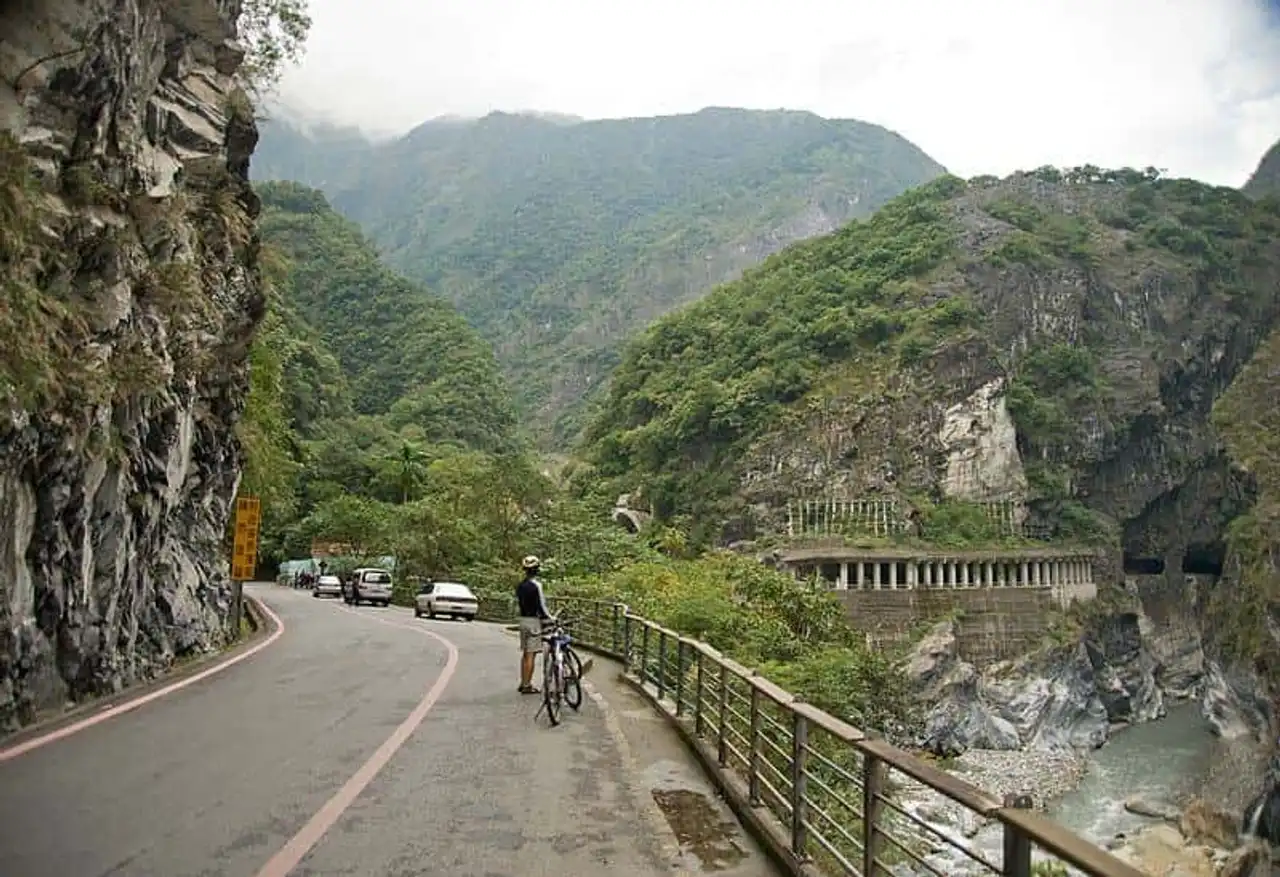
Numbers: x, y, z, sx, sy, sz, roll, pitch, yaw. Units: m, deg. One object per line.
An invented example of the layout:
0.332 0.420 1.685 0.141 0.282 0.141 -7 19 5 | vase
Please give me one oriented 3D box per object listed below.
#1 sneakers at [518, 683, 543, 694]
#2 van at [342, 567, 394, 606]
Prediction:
-2.033 4.657 17.800 0.177 0.222 0.550 12 -2 42 | sneakers
-13.200 7.183 46.533 1.882 1.779 2.512 4 -10 -24 | van
